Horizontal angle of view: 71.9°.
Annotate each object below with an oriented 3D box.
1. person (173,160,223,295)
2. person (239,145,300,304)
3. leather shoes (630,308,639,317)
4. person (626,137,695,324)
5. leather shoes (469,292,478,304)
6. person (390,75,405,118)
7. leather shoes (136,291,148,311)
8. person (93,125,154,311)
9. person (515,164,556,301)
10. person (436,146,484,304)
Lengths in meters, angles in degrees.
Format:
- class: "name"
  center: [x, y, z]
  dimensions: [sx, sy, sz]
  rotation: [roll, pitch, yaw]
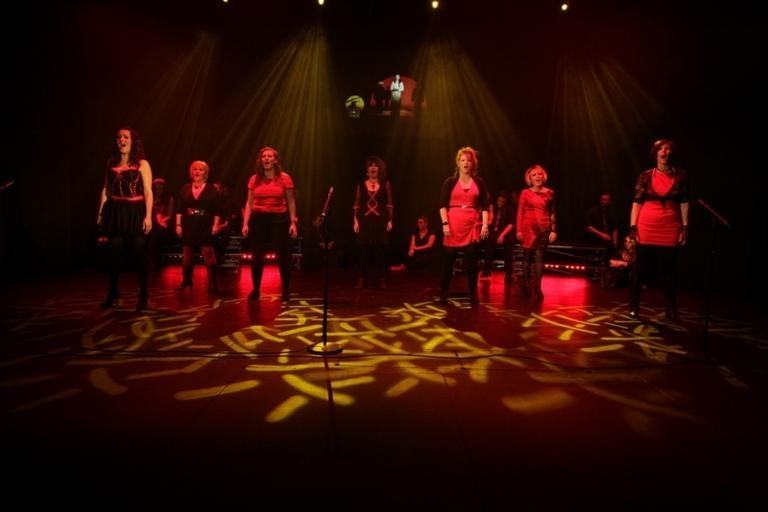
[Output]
- class: "person"
  center: [-2.767, -0.442, 7.952]
  dimensions: [0.658, 1.860, 1.064]
  rotation: [-4, 14, -20]
- class: "person"
  center: [-1.586, -0.422, 7.392]
  dimensions: [0.728, 2.083, 0.836]
  rotation: [-2, 14, -12]
- class: "leather shoes"
  center: [3.102, 0.710, 6.610]
  dimensions: [0.101, 0.122, 0.113]
  rotation: [0, 4, -2]
- class: "person"
  center: [3.387, -0.287, 6.559]
  dimensions: [0.648, 2.199, 0.603]
  rotation: [8, 15, 28]
- class: "leather shoes"
  center: [1.224, 0.573, 7.166]
  dimensions: [0.094, 0.176, 0.283]
  rotation: [2, 13, 6]
- class: "person"
  center: [0.305, -3.546, 11.625]
  dimensions: [0.311, 0.853, 0.453]
  rotation: [4, 14, 16]
- class: "leather shoes"
  center: [-2.924, 0.552, 6.414]
  dimensions: [0.119, 0.230, 0.185]
  rotation: [-6, 15, -26]
- class: "person"
  center: [-3.171, -0.435, 6.472]
  dimensions: [0.659, 2.194, 0.742]
  rotation: [-3, 14, -16]
- class: "person"
  center: [2.308, -0.341, 8.004]
  dimensions: [0.574, 1.953, 0.736]
  rotation: [2, 13, 6]
- class: "person"
  center: [1.091, -0.353, 7.231]
  dimensions: [0.655, 2.153, 0.821]
  rotation: [3, 13, 9]
